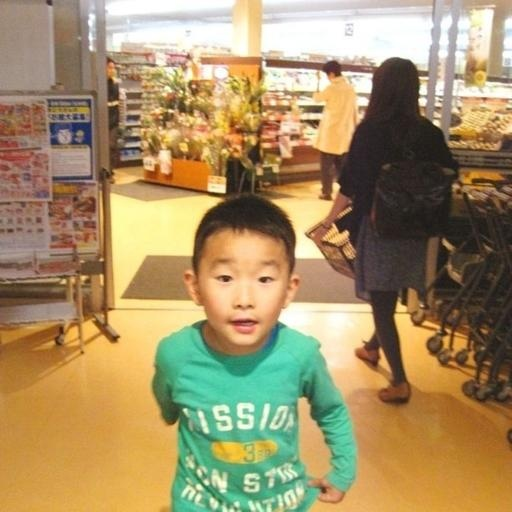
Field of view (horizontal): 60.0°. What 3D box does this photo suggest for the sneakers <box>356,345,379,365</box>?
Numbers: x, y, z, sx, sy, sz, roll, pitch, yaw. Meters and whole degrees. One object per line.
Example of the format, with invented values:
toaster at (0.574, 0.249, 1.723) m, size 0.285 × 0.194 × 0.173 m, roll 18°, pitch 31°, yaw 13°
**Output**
sneakers at (0.738, 0.654, 2.978) m, size 0.068 × 0.074 × 0.184 m, roll -1°, pitch 17°, yaw -30°
